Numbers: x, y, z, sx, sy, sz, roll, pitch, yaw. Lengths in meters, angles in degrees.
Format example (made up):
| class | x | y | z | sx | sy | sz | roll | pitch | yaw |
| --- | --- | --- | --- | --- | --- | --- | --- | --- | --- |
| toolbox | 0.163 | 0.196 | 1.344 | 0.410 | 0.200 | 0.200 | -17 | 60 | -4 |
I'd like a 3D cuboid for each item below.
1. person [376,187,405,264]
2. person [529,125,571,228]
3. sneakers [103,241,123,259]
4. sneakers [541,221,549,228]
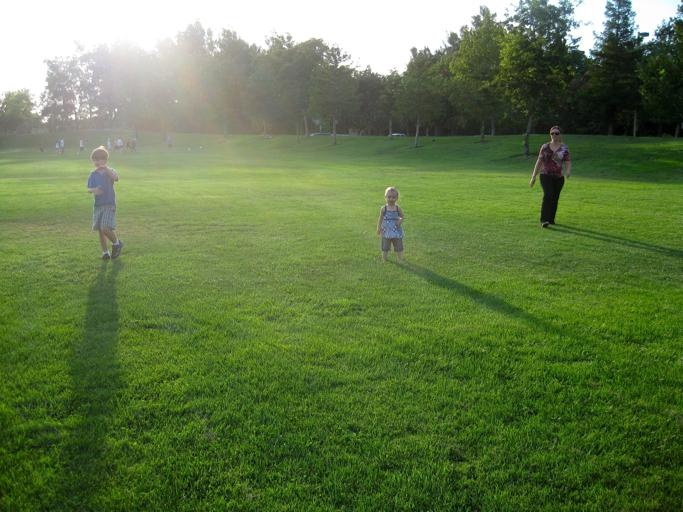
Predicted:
| class | x | y | z | sx | sy | sz | roll | pitch | yaw |
| --- | --- | --- | --- | --- | --- | --- | --- | --- | --- |
| person | 0.958 | -0.630 | 11.055 | 0.454 | 1.384 | 0.274 | 1 | 11 | 4 |
| person | 5.337 | -2.022 | 14.475 | 0.845 | 2.482 | 1.488 | 5 | 12 | 22 |
| sneakers | -4.377 | -0.118 | 10.845 | 0.165 | 0.481 | 0.204 | 29 | -2 | 14 |
| sneakers | 5.185 | -0.801 | 14.430 | 0.167 | 0.125 | 0.215 | 5 | 13 | 18 |
